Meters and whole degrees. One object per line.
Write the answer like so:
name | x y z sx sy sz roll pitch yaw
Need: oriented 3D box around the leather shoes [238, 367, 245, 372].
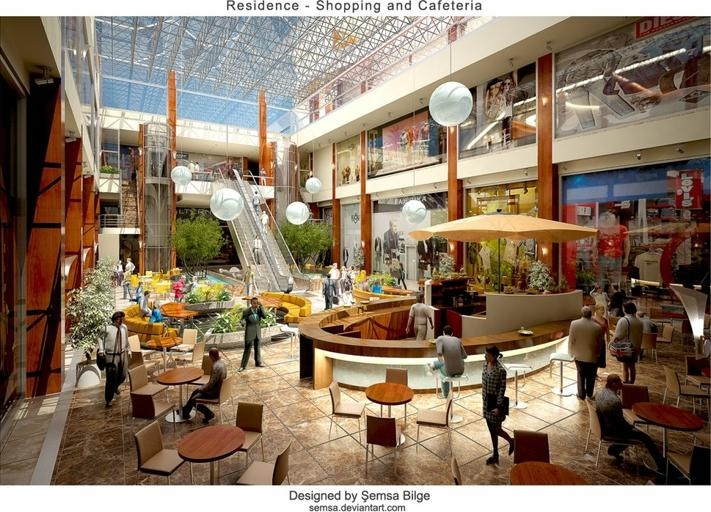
leather shoes | -2.964 2.971 11.800 0.195 0.077 0.179 -5 2 -16

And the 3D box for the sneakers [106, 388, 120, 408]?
sneakers | -5.400 3.208 10.099 0.135 0.427 0.177 14 13 -11

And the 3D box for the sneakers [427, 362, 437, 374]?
sneakers | 1.619 2.375 9.646 0.166 0.108 0.266 1 2 -19

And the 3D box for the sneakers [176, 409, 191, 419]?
sneakers | -3.639 3.323 9.507 0.374 0.210 0.220 -4 2 10

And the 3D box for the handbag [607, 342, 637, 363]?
handbag | 6.152 2.229 10.455 0.513 0.562 0.299 -3 3 29

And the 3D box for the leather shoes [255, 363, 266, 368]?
leather shoes | -2.538 2.944 12.106 0.292 0.202 0.097 0 6 -6

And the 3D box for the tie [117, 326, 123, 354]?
tie | -5.213 1.874 9.979 0.034 0.555 0.166 -2 3 35

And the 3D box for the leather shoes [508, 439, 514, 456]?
leather shoes | 2.855 3.553 8.354 0.089 0.305 0.121 1 -5 25
